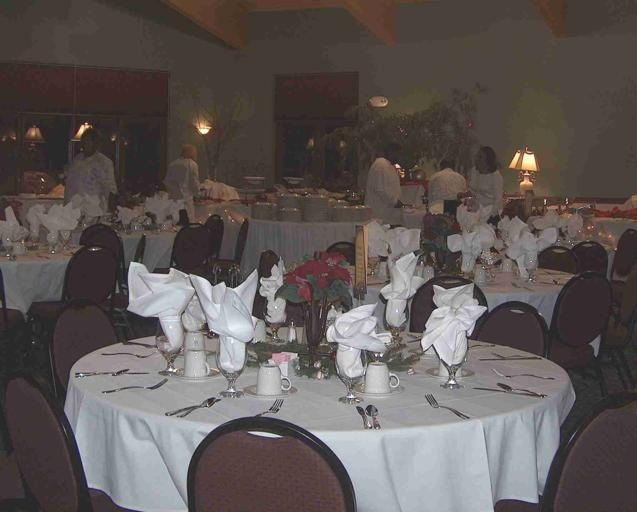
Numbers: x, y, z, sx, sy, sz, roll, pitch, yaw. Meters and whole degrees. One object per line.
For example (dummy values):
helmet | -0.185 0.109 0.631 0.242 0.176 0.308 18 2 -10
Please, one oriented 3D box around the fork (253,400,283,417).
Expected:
fork | -0.150 0.474 1.638 0.106 0.016 0.026 -37 37 -2

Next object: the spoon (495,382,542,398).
spoon | 0.661 0.461 1.869 0.042 0.038 0.244 -17 -1 -28

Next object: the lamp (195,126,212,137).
lamp | -2.556 -2.804 12.029 0.346 0.225 0.073 3 4 -32

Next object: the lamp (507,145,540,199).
lamp | 4.094 -1.670 10.526 0.536 0.939 0.581 -6 14 -23

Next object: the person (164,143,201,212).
person | -2.495 -1.306 9.339 0.485 0.510 1.598 9 -41 -25

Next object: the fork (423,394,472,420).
fork | 0.393 0.468 1.669 0.033 0.034 0.208 -2 16 -27

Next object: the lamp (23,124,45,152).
lamp | -5.691 -2.381 10.767 0.357 0.517 0.364 2 5 -30
